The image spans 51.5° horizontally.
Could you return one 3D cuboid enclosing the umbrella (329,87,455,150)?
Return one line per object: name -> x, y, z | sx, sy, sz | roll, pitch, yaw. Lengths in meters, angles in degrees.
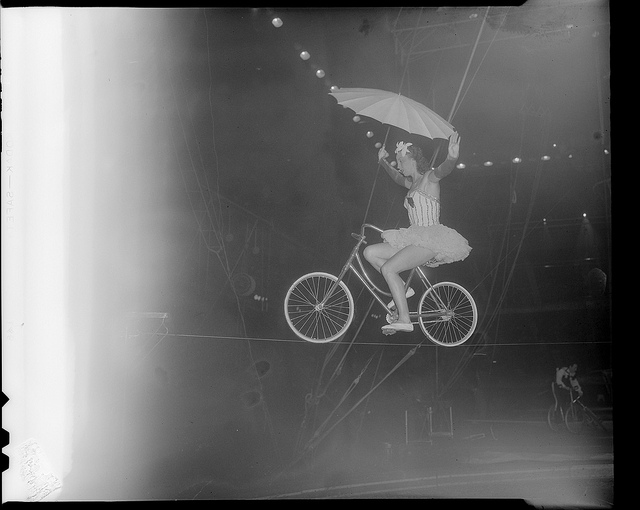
umbrella -> 0.521, -0.964, 4.507 | 0.470, 0.484, 0.325 | 17, 75, 27
